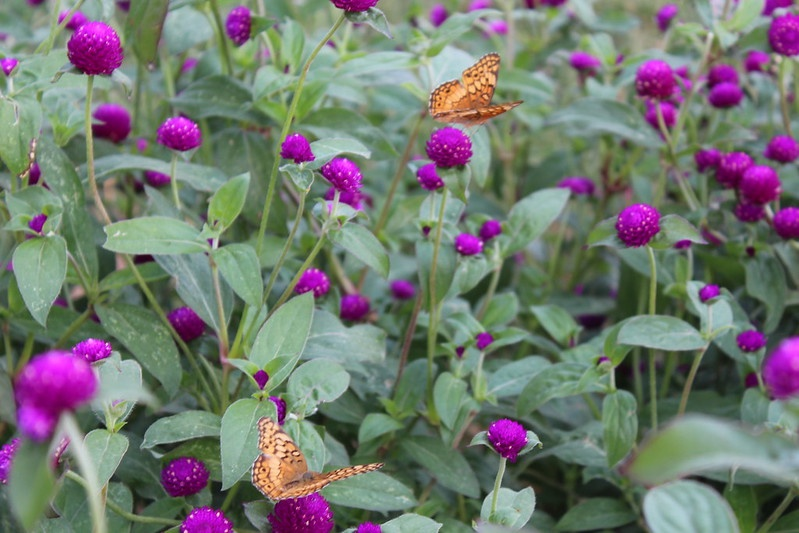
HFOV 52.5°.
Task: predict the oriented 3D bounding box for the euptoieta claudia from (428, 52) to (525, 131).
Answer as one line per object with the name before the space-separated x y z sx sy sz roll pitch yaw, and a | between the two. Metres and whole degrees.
euptoieta claudia | 0.150 -0.353 1.712 0.142 0.102 0.175 -6 39 -4
